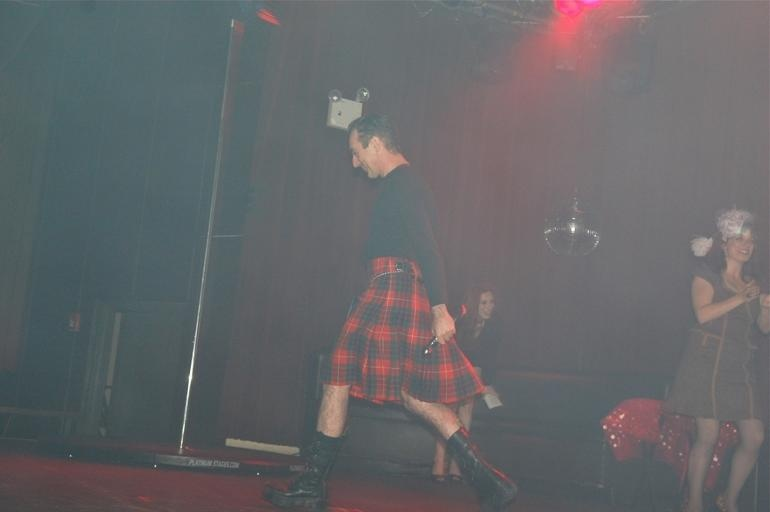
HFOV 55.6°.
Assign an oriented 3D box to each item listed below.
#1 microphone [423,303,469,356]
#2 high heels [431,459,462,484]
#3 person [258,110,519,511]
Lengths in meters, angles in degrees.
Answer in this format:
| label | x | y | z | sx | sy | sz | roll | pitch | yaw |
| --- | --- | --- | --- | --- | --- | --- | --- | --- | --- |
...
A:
| label | x | y | z | sx | sy | sz | roll | pitch | yaw |
| --- | --- | --- | --- | --- | --- | --- | --- | --- | --- |
| microphone | 0.350 | 0.448 | 4.356 | 0.088 | 0.358 | 0.105 | 33 | -22 | 19 |
| high heels | 0.377 | 1.329 | 4.486 | 0.224 | 0.207 | 0.127 | -1 | -24 | 0 |
| person | 0.072 | 0.316 | 4.304 | 1.234 | 2.266 | 0.436 | 7 | -1 | 0 |
